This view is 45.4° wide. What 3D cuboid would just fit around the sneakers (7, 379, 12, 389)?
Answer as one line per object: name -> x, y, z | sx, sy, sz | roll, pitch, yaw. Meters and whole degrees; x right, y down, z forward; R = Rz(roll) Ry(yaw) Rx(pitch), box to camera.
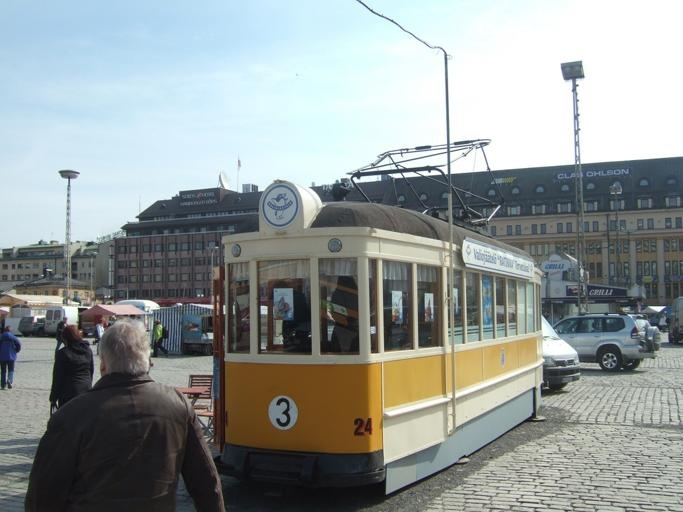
sneakers -> -7.753, 3.045, 19.104 | 0.079, 0.260, 0.104 | 0, 4, -15
